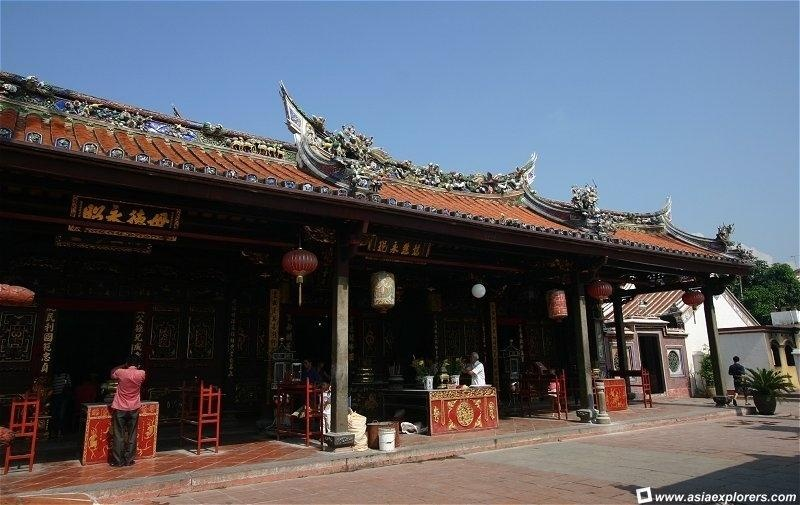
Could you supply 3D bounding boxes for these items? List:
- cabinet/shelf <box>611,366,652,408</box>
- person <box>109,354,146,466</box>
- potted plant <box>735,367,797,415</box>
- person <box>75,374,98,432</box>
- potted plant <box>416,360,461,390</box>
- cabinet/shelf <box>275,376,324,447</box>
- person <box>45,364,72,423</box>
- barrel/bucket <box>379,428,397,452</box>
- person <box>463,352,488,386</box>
[{"bbox_3d":[7.134,4.212,17.160,1.748,1.454,0.657,7,-16,-31],"label":"cabinet/shelf"},{"bbox_3d":[-5.100,2.920,10.275,0.521,1.974,0.479,3,-17,-24],"label":"person"},{"bbox_3d":[10.266,3.904,15.535,1.030,1.235,1.271,-11,-16,28],"label":"potted plant"},{"bbox_3d":[-7.610,3.459,13.391,0.443,0.655,0.402,4,12,-29],"label":"person"},{"bbox_3d":[0.907,2.877,13.130,1.038,0.674,1.155,-7,-15,17],"label":"potted plant"},{"bbox_3d":[-2.181,3.431,11.880,0.569,1.317,1.503,13,-21,-38],"label":"cabinet/shelf"},{"bbox_3d":[-7.851,3.370,12.754,0.376,1.164,2.002,5,-16,-30],"label":"person"},{"bbox_3d":[-0.240,3.684,10.876,0.361,0.439,0.273,1,-15,-16],"label":"barrel/bucket"},{"bbox_3d":[1.776,2.819,13.272,0.420,0.809,0.560,-4,-15,2],"label":"person"}]
